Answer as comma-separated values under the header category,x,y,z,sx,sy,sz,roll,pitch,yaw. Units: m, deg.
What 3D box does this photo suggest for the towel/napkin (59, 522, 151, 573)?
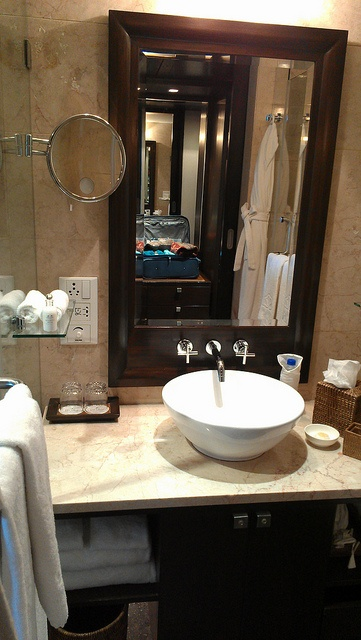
category,x,y,z,sx,sy,sz,roll,pitch,yaw
towel/napkin,-0.192,0.547,1.145,0.147,0.058,0.159,-3,4,-1

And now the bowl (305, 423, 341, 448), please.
category,x,y,z,sx,sy,sz,roll,pitch,yaw
bowl,0.397,0.331,1.303,0.093,0.039,0.108,8,13,22

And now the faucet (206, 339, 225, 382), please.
category,x,y,z,sx,sy,sz,roll,pitch,yaw
faucet,0.106,0.118,1.409,0.037,0.052,0.133,-2,31,-2

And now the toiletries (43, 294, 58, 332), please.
category,x,y,z,sx,sy,sz,roll,pitch,yaw
toiletries,-0.277,-0.015,0.973,0.032,0.064,0.092,-2,13,-16

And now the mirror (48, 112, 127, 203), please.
category,x,y,z,sx,sy,sz,roll,pitch,yaw
mirror,-0.247,-0.420,1.208,0.201,0.209,0.061,-2,12,-19

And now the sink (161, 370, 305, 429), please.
category,x,y,z,sx,sy,sz,roll,pitch,yaw
sink,0.144,0.233,1.300,0.368,0.114,0.259,4,13,8

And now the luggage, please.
category,x,y,z,sx,sy,sz,roll,pitch,yaw
luggage,-0.043,-0.213,1.375,0.167,0.187,0.110,-6,16,-18

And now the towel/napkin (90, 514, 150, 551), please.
category,x,y,z,sx,sy,sz,roll,pitch,yaw
towel/napkin,-0.159,0.534,1.166,0.095,0.031,0.105,0,21,-1

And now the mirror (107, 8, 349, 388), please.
category,x,y,z,sx,sy,sz,roll,pitch,yaw
mirror,0.176,-0.361,1.424,0.456,0.966,0.068,3,24,7

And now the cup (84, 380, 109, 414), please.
category,x,y,z,sx,sy,sz,roll,pitch,yaw
cup,-0.250,0.236,1.397,0.074,0.084,0.081,1,18,0

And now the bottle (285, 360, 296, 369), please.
category,x,y,z,sx,sy,sz,roll,pitch,yaw
bottle,0.347,0.134,1.447,0.024,0.027,0.027,-3,7,-36

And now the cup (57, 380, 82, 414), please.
category,x,y,z,sx,sy,sz,roll,pitch,yaw
cup,-0.326,0.235,1.375,0.072,0.083,0.078,3,23,-1

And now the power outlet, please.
category,x,y,z,sx,sy,sz,roll,pitch,yaw
power outlet,-0.303,-0.022,1.373,0.112,0.208,0.066,-2,12,-16

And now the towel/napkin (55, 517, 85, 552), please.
category,x,y,z,sx,sy,sz,roll,pitch,yaw
towel/napkin,-0.276,0.528,1.135,0.092,0.025,0.094,1,30,-12
